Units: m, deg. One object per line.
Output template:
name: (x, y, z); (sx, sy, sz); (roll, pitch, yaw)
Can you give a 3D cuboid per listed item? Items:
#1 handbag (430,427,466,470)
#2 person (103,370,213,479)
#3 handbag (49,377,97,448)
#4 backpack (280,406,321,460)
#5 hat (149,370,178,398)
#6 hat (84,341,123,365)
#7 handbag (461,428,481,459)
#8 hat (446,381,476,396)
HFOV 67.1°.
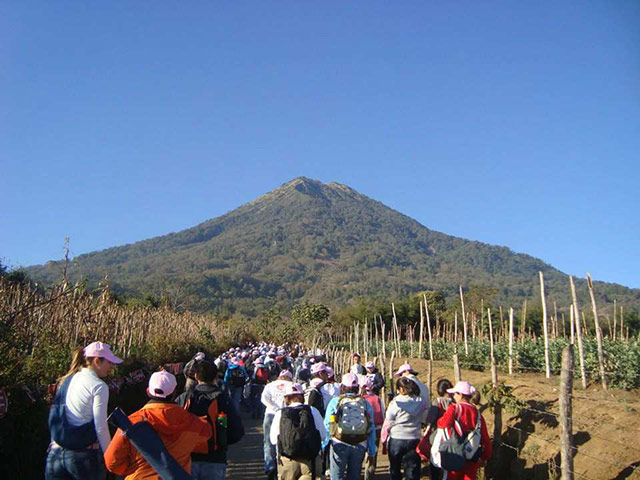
handbag: (1.977, 3.157, 7.332); (0.567, 0.692, 0.329); (-5, -11, 38)
person: (-1.854, 2.169, 5.675); (1.207, 1.228, 0.574); (5, -10, -27)
handbag: (-3.014, 2.089, 5.877); (0.657, 0.861, 0.190); (-2, -9, 11)
backpack: (-0.295, 2.808, 7.027); (0.616, 0.781, 0.263); (1, -8, -6)
hat: (-1.878, 1.697, 5.823); (0.231, 0.183, 0.375); (4, 20, -6)
hat: (-2.729, 1.356, 6.085); (0.431, 0.250, 0.280); (13, -4, -22)
handbag: (2.347, 3.080, 7.346); (0.362, 0.495, 0.119); (5, -10, -29)
hat: (2.250, 2.322, 7.559); (0.328, 0.163, 0.246); (0, -8, 12)
